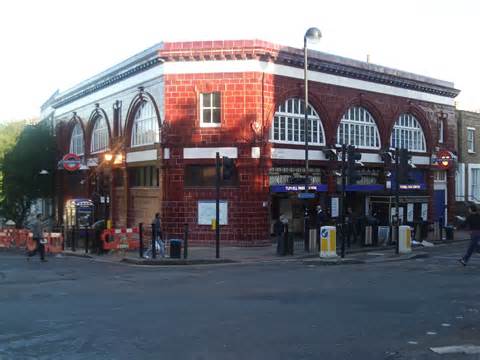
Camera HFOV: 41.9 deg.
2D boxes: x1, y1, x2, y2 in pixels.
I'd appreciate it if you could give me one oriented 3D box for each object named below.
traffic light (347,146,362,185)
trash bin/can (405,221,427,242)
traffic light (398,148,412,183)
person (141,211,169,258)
[{"bbox_3d":[4.872,-0.622,26.476,0.621,1.640,1.310,0,4,10],"label":"traffic light"},{"bbox_3d":[9.667,2.709,33.787,1.190,1.397,0.958,0,-2,-6],"label":"trash bin/can"},{"bbox_3d":[7.448,-0.678,28.150,0.488,1.456,1.048,1,4,15],"label":"traffic light"},{"bbox_3d":[-3.780,2.551,27.525,0.919,1.514,1.901,-1,4,-8],"label":"person"}]
